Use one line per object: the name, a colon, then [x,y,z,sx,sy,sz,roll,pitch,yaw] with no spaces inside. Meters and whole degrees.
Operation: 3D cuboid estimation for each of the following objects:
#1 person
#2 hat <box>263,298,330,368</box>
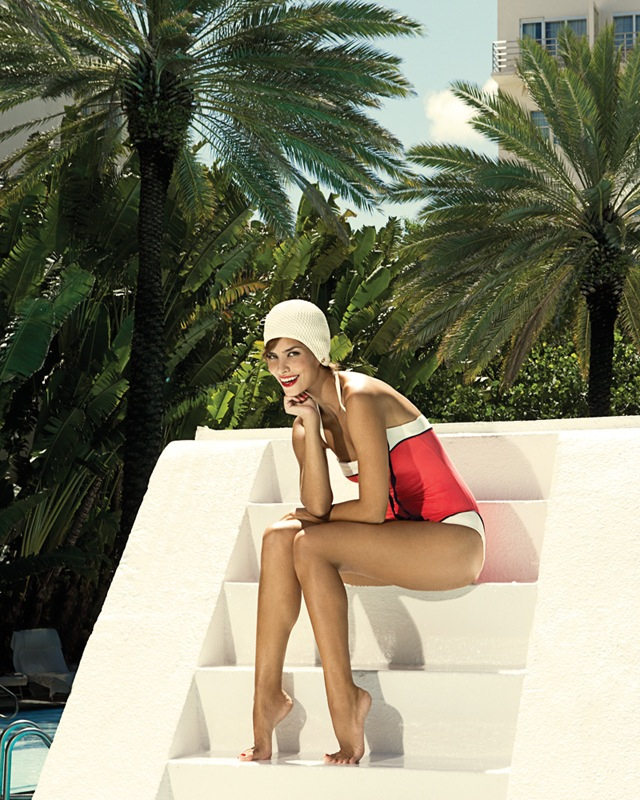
person: [0.075,0.348,2.402,0.620,0.976,0.876,-10,7,31]
hat: [-0.068,-0.227,2.698,0.238,0.204,0.237,-1,0,20]
